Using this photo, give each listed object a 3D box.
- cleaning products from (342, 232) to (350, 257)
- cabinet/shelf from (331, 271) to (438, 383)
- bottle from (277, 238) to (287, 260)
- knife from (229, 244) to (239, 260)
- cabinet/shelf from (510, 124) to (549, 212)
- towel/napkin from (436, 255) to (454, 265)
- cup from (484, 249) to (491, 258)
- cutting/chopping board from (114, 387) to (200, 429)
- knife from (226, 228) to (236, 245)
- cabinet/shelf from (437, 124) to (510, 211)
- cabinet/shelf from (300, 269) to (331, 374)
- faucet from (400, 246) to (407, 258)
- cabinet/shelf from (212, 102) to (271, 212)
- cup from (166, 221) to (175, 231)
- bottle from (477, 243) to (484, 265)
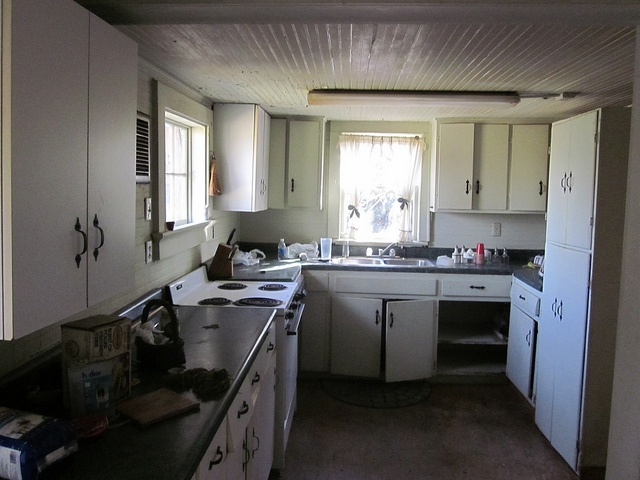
[{"bbox_3d":[0.256,0.042,4.716,0.071,0.228,0.054,3,10,16],"label":"cleaning products"},{"bbox_3d":[0.552,0.726,4.327,0.979,0.947,0.698,2,6,7],"label":"cabinet/shelf"},{"bbox_3d":[-0.351,0.083,4.529,0.085,0.163,0.193,0,10,-6],"label":"bottle"},{"bbox_3d":[-0.707,0.101,3.949,0.085,0.143,0.080,5,23,-20],"label":"knife"},{"bbox_3d":[1.950,-0.644,4.583,0.383,0.820,0.445,4,-5,2],"label":"cabinet/shelf"},{"bbox_3d":[1.143,0.186,4.396,0.093,0.062,0.095,-3,-1,41],"label":"towel/napkin"},{"bbox_3d":[1.625,0.130,4.636,0.066,0.068,0.090,4,11,19],"label":"cup"},{"bbox_3d":[-0.612,0.635,1.825,0.258,0.034,0.213,8,13,32],"label":"cutting/chopping board"},{"bbox_3d":[-0.795,-0.036,4.291,0.035,0.161,0.038,15,-21,-9],"label":"knife"},{"bbox_3d":[1.460,-0.650,4.558,0.671,0.840,0.443,2,0,16],"label":"cabinet/shelf"},{"bbox_3d":[-0.040,0.696,4.155,0.265,0.846,0.131,1,9,1],"label":"cabinet/shelf"},{"bbox_3d":[0.824,0.111,4.683,0.066,0.124,0.041,-2,10,-12],"label":"faucet"},{"bbox_3d":[-0.657,-0.683,3.887,0.331,0.793,0.826,1,-1,6],"label":"cabinet/shelf"},{"bbox_3d":[-0.947,-0.088,3.053,0.026,0.056,0.060,6,11,28],"label":"cup"},{"bbox_3d":[1.484,0.124,4.442,0.074,0.171,0.136,4,10,18],"label":"bottle"}]
